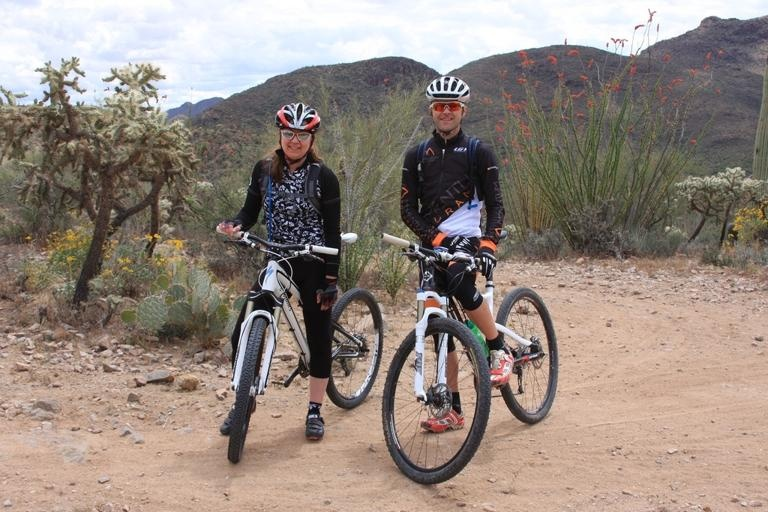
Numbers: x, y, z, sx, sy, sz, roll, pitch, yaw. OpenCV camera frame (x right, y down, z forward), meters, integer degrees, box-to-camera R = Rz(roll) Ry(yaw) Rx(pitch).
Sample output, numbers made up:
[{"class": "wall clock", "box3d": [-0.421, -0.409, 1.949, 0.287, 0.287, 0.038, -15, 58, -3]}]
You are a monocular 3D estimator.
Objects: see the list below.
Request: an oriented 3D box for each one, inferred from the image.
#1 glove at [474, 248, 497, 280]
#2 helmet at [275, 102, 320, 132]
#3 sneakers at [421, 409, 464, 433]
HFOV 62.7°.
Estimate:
[{"class": "glove", "box3d": [0.954, 0.070, 5.863, 0.178, 0.098, 0.239, 16, 22, -48]}, {"class": "helmet", "box3d": [-0.817, -1.345, 6.120, 0.410, 0.304, 0.287, 4, 3, -7]}, {"class": "sneakers", "box3d": [0.597, 1.662, 6.372, 0.557, 0.285, 0.222, 6, -8, -31]}]
